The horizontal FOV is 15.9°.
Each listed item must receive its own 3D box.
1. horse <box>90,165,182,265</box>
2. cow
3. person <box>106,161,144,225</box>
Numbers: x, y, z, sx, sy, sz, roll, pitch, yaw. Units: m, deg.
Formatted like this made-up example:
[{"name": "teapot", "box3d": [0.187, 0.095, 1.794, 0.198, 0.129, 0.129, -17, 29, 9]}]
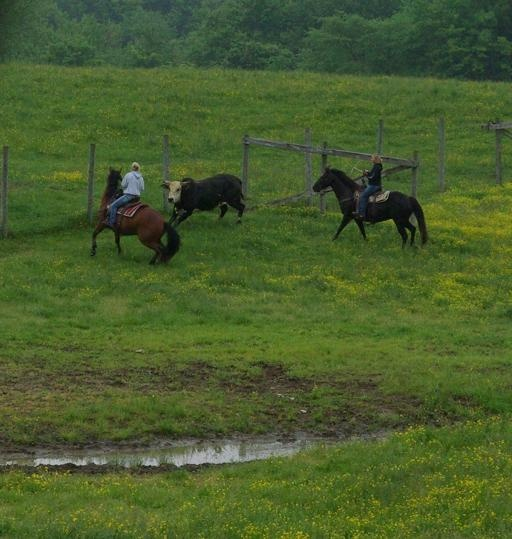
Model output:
[{"name": "horse", "box3d": [-4.784, -2.180, 74.685, 3.698, 3.583, 2.265, 2, 8, 3]}, {"name": "cow", "box3d": [-2.082, -3.015, 77.363, 4.095, 2.505, 1.525, -5, 9, -35]}, {"name": "person", "box3d": [-5.210, -3.061, 74.678, 1.217, 2.663, 0.855, 3, -4, 35]}]
